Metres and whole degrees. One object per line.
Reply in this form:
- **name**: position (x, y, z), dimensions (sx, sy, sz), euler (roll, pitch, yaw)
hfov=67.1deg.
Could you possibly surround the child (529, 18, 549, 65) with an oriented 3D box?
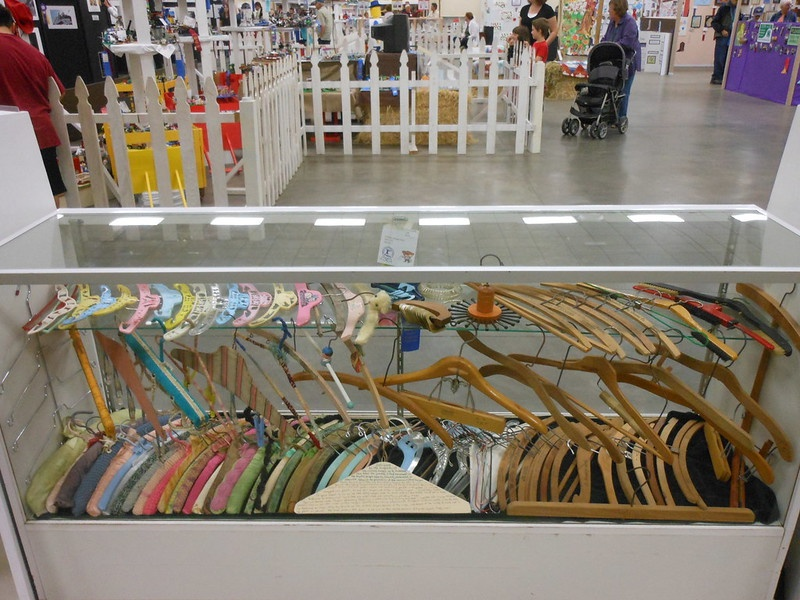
- **child**: position (2.516, -4.714, 10.855), dimensions (0.307, 0.715, 1.336), euler (5, 24, 10)

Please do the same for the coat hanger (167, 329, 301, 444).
- **coat hanger**: position (-0.724, 0.361, 2.587), dimensions (0.473, 0.315, 0.052), euler (32, 38, -1)

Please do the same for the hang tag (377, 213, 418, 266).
- **hang tag**: position (-0.008, -0.233, 2.413), dimensions (0.149, 0.287, 0.015), euler (8, 57, -1)

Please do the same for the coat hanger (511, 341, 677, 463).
- **coat hanger**: position (0.814, 0.433, 2.574), dimensions (0.539, 0.192, 0.056), euler (34, 50, 28)
